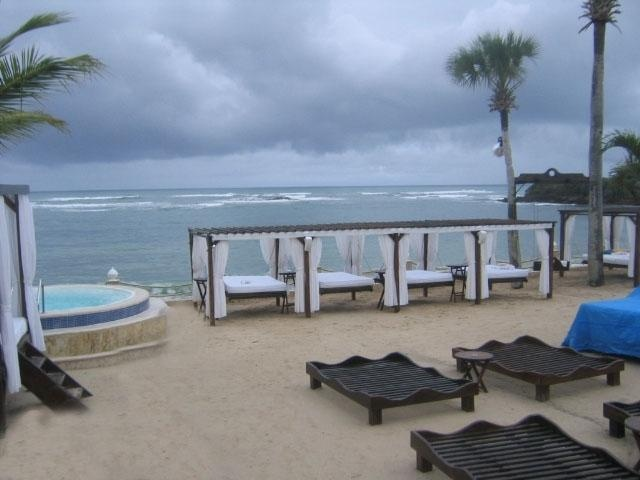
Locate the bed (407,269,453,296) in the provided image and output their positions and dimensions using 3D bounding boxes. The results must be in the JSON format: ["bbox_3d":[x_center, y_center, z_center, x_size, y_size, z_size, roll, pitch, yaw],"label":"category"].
[{"bbox_3d":[2.916,1.087,14.778,1.565,0.431,0.774,-2,7,-19],"label":"bed"}]

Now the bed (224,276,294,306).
[{"bbox_3d":[-1.642,1.411,13.775,1.557,0.858,1.535,-1,7,-8],"label":"bed"}]

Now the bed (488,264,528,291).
[{"bbox_3d":[5.326,1.004,15.418,0.856,0.372,0.840,1,5,15],"label":"bed"}]

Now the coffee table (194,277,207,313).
[{"bbox_3d":[-3.126,1.400,14.194,0.296,0.982,1.254,-2,7,-13],"label":"coffee table"}]

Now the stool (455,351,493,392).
[{"bbox_3d":[2.434,2.009,8.558,0.601,0.593,0.583,-5,6,-15],"label":"stool"}]
